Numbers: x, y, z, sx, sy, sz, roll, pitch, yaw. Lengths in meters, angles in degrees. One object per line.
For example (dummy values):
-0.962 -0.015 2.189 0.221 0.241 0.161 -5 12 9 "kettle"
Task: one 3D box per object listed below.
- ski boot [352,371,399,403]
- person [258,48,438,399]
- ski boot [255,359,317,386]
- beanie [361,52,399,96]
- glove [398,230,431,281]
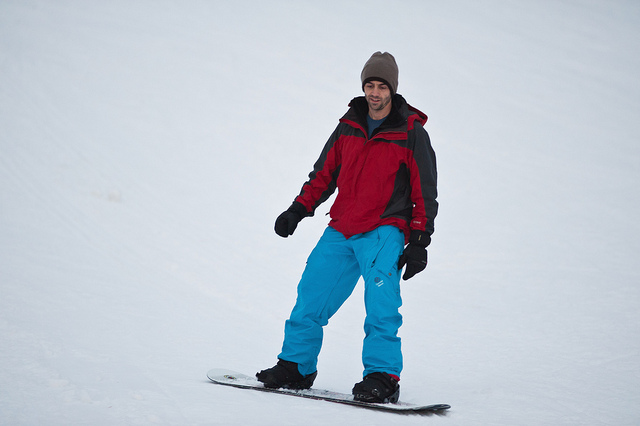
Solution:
0.403 1.185 3.595 0.402 0.184 0.230 13 -18 -40 "ski boot"
0.283 0.103 3.812 1.068 2.170 1.290 22 -35 -10 "person"
-0.263 1.130 3.805 0.349 0.138 0.177 6 -1 10 "ski boot"
0.433 -1.014 3.789 0.214 0.346 0.243 -1 -10 12 "beanie"
0.665 0.286 3.683 0.179 0.359 0.215 0 0 8 "glove"
